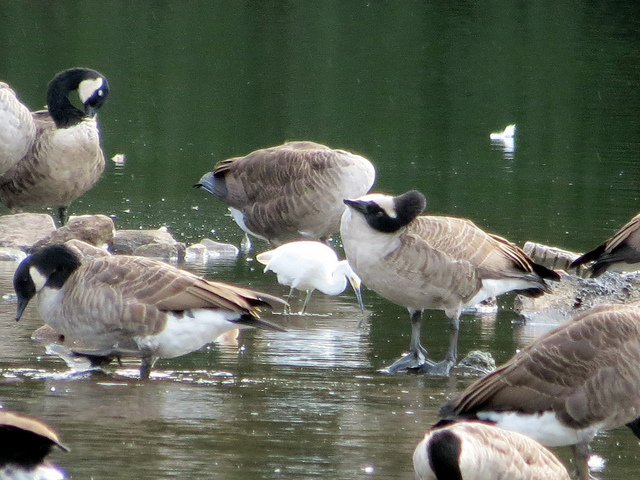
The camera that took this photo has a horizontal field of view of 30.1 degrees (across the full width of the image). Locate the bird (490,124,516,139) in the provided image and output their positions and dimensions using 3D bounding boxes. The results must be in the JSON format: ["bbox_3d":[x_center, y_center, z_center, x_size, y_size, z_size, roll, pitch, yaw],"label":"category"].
[{"bbox_3d":[4.027,-2.358,26.607,0.516,0.315,0.661,3,-3,5],"label":"bird"}]

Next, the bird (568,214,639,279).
[{"bbox_3d":[3.303,0.067,13.775,0.714,0.750,0.341,3,-3,6],"label":"bird"}]

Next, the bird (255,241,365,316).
[{"bbox_3d":[-0.191,0.518,15.133,1.543,0.944,0.732,28,20,30],"label":"bird"}]

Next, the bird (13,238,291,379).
[{"bbox_3d":[-1.832,0.770,12.595,2.892,1.454,0.875,-7,-9,0],"label":"bird"}]
